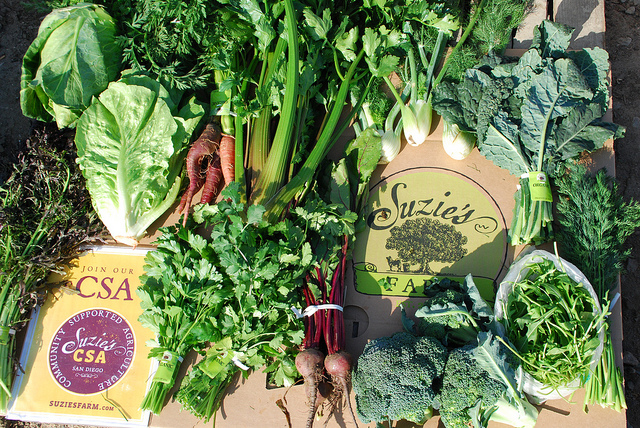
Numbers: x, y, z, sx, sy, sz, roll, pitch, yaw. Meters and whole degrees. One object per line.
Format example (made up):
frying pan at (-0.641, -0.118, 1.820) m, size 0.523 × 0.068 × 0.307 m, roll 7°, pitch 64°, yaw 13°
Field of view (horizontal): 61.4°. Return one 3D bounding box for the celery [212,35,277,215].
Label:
celery at (-0.567, -0.629, 4.081) m, size 0.388 × 1.304 × 0.403 m, roll -4°, pitch 0°, yaw -30°

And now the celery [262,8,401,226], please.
celery at (-0.068, -0.877, 4.254) m, size 0.738 × 1.917 × 0.476 m, roll 24°, pitch -3°, yaw -24°

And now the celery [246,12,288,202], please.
celery at (-0.423, -0.747, 4.151) m, size 0.193 × 1.606 × 0.189 m, roll 9°, pitch -2°, yaw 7°

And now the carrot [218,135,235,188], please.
carrot at (-0.696, -0.400, 4.067) m, size 0.109 × 0.397 × 0.119 m, roll -2°, pitch -5°, yaw -2°

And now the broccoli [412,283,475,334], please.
broccoli at (0.833, 0.642, 3.907) m, size 0.435 × 0.318 × 0.570 m, roll -7°, pitch 18°, yaw 5°

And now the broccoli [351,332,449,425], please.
broccoli at (0.529, 1.134, 3.678) m, size 0.634 × 0.627 × 0.210 m, roll 6°, pitch 0°, yaw 15°
